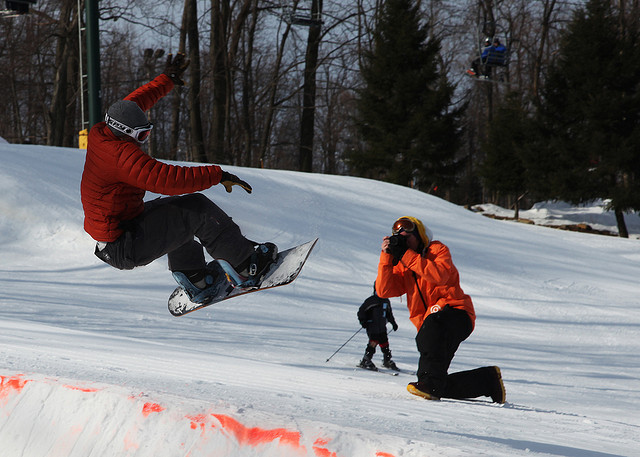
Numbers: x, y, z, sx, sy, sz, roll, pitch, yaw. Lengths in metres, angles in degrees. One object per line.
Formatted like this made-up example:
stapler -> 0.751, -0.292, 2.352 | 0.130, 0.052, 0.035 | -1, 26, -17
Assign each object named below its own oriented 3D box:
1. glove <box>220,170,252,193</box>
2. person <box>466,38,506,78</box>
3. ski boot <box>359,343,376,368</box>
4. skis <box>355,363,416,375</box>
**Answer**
glove -> -1.777, -0.978, 18.683 | 0.389, 0.164, 0.611 | -1, -19, 46
person -> 6.333, -6.255, 32.866 | 0.692, 1.366, 1.406 | 3, 12, 0
ski boot -> 1.088, 2.911, 20.401 | 0.381, 0.523, 0.279 | 4, 8, -2
skis -> 1.431, 3.235, 20.333 | 0.869, 0.091, 0.100 | 8, 48, 10
